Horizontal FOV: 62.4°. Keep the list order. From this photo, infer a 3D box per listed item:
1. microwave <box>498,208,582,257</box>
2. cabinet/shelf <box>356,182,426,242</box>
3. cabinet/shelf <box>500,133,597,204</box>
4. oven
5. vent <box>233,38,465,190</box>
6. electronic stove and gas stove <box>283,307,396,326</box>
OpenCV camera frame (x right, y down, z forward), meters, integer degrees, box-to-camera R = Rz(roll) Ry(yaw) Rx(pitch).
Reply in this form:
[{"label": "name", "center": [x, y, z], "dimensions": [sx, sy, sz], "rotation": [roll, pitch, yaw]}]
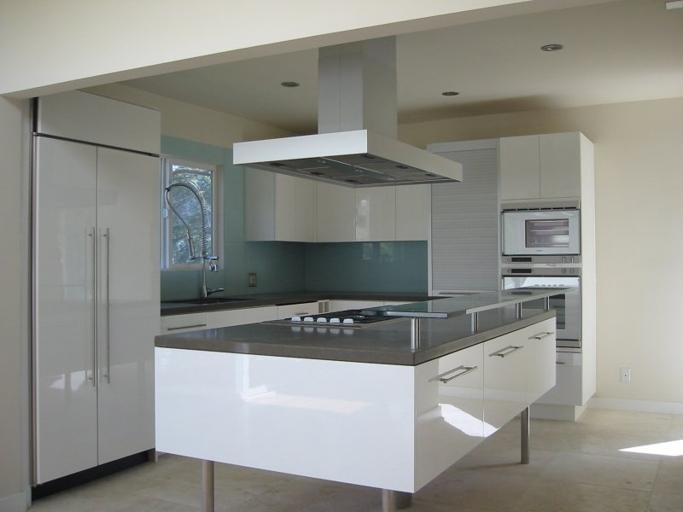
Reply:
[{"label": "microwave", "center": [1.903, -0.197, 5.393], "dimensions": [0.738, 0.456, 0.426], "rotation": [-2, -5, 30]}, {"label": "cabinet/shelf", "center": [0.533, -0.481, 6.422], "dimensions": [0.900, 0.629, 0.471], "rotation": [-1, 3, -18]}, {"label": "cabinet/shelf", "center": [2.072, -0.848, 5.580], "dimensions": [0.449, 0.691, 0.850], "rotation": [-12, 11, -41]}, {"label": "oven", "center": [1.945, 0.483, 5.612], "dimensions": [0.827, 0.950, 0.720], "rotation": [2, -6, 3]}, {"label": "vent", "center": [0.070, -0.929, 3.518], "dimensions": [0.761, 0.850, 1.300], "rotation": [1, 1, 37]}, {"label": "electronic stove and gas stove", "center": [-0.033, 0.361, 3.424], "dimensions": [0.574, 0.071, 0.534], "rotation": [0, 1, 27]}]
